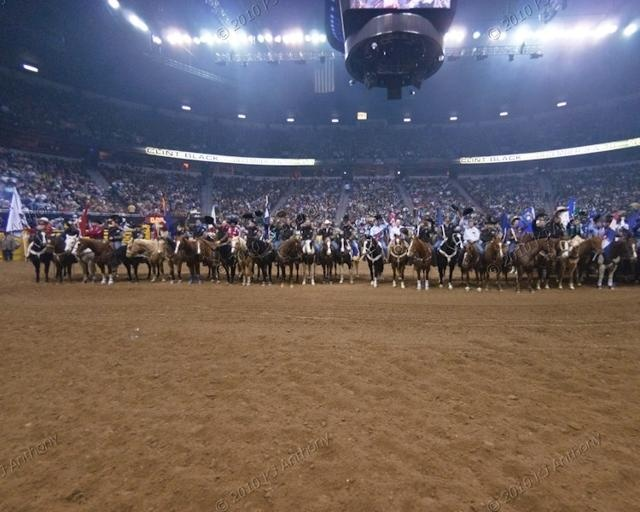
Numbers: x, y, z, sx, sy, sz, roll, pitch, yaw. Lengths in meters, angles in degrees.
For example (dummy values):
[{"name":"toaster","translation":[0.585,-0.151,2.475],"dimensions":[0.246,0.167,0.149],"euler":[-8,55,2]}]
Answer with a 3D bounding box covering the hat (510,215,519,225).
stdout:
[{"name":"hat","translation":[13.207,-2.357,38.186],"dimensions":[0.535,0.583,1.078],"euler":[-2,0,19]}]
